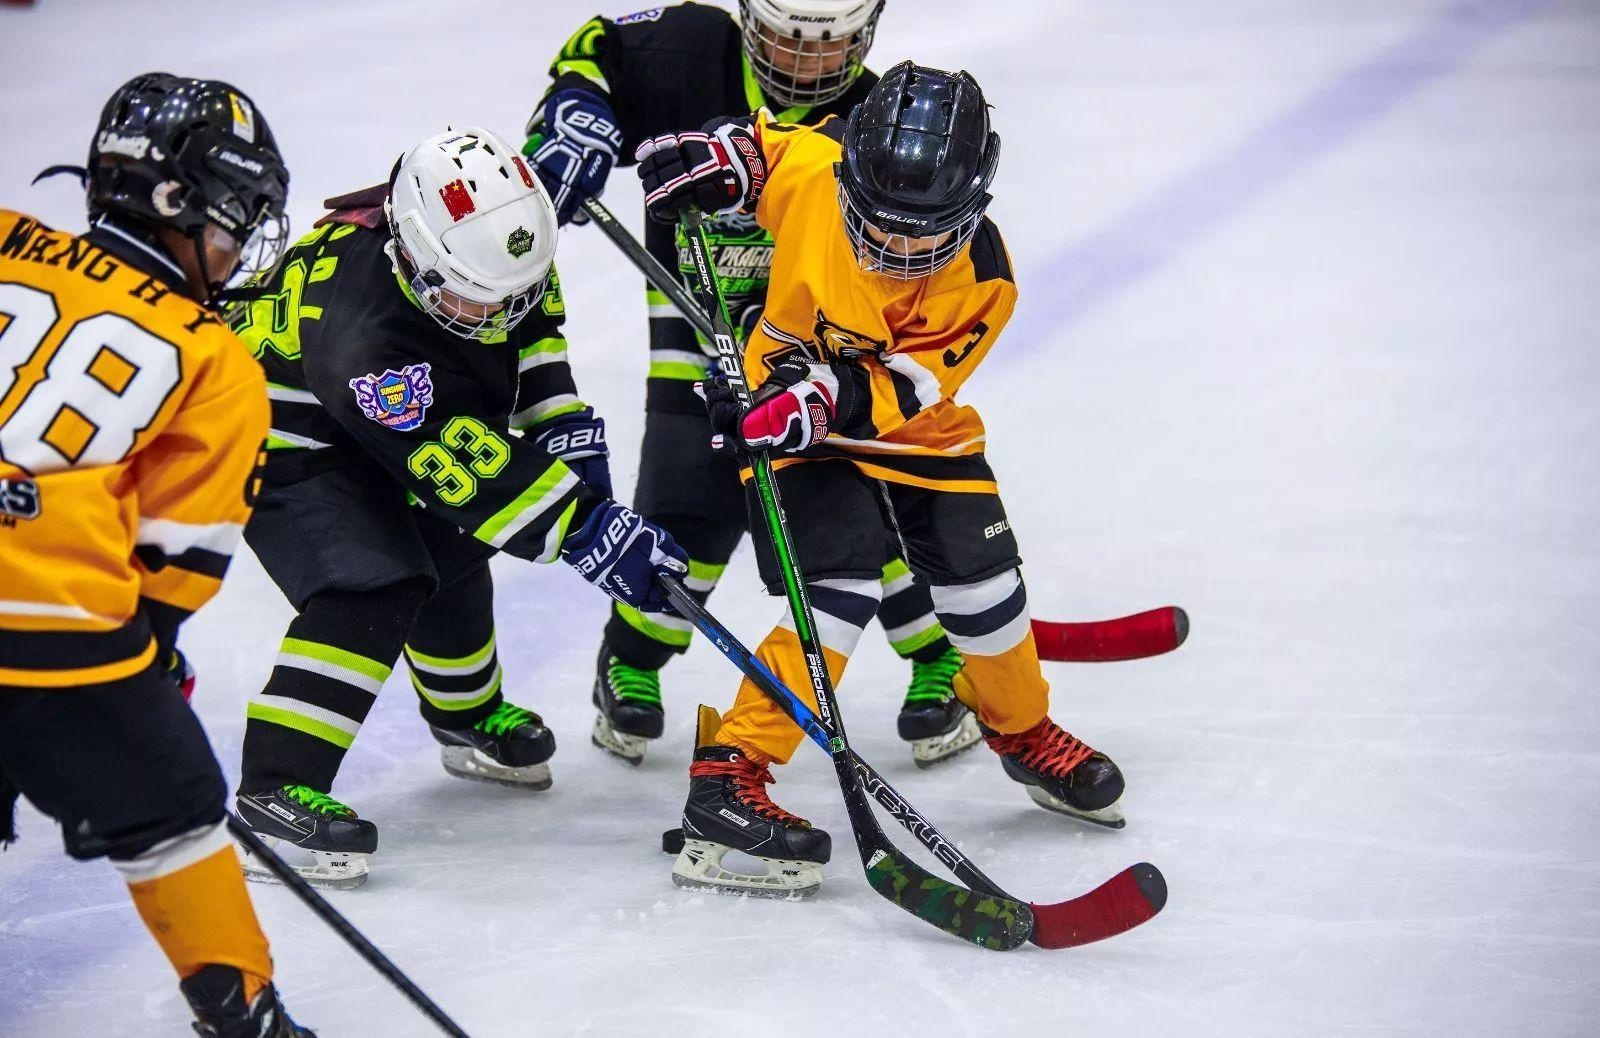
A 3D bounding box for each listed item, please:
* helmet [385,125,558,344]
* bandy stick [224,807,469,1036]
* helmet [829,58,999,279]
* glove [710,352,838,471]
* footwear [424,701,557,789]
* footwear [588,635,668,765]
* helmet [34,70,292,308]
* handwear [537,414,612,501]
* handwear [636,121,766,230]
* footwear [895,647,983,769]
[{"bbox_3d":[-0.796,-0.676,3.764,0.400,0.504,0.280,-8,19,-13],"label":"helmet"},{"bbox_3d":[-1.019,0.904,3.449,0.707,0.031,0.070,43,18,-17],"label":"bandy stick"},{"bbox_3d":[0.252,-0.828,3.866,0.421,0.510,0.453,14,-22,3],"label":"helmet"},{"bbox_3d":[-0.066,-0.263,3.909,0.308,0.213,0.142,2,-11,39],"label":"glove"},{"bbox_3d":[-0.827,0.608,4.252,0.339,0.149,0.208,22,47,28],"label":"footwear"},{"bbox_3d":[-0.507,0.516,4.501,0.140,0.172,0.402,30,15,-29],"label":"footwear"},{"bbox_3d":[-1.280,-0.690,3.269,0.342,0.387,0.432,16,-1,27],"label":"helmet"},{"bbox_3d":[-0.581,-0.168,4.089,0.247,0.228,0.195,-3,15,-30],"label":"handwear"},{"bbox_3d":[-0.264,-0.896,4.088,0.315,0.228,0.150,-6,-19,16],"label":"handwear"},{"bbox_3d":[0.415,0.524,4.513,0.112,0.335,0.373,-8,2,36],"label":"footwear"}]
